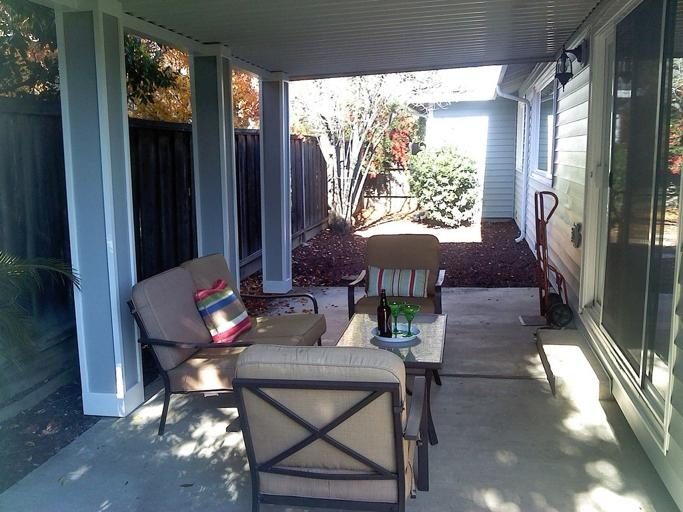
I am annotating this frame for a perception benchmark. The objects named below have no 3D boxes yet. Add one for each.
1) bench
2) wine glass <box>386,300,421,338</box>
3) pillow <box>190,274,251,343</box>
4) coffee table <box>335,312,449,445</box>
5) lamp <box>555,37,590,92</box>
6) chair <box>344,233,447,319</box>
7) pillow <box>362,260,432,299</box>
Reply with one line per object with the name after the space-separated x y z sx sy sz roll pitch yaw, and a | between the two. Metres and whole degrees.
-1.008 0.576 4.137 1.308 1.392 1.580 4 6 10 | bench
0.489 0.499 3.782 0.256 0.269 0.273 -1 2 -4 | wine glass
-1.040 0.494 4.214 0.279 0.504 0.561 -4 10 17 | pillow
0.465 0.970 3.719 0.758 0.816 1.141 4 6 10 | coffee table
2.819 -2.343 5.703 0.286 0.519 0.484 4 9 13 | lamp
0.648 0.179 5.219 0.900 0.968 1.006 1 9 10 | chair
0.614 0.232 5.108 0.714 0.376 0.465 1 4 16 | pillow
